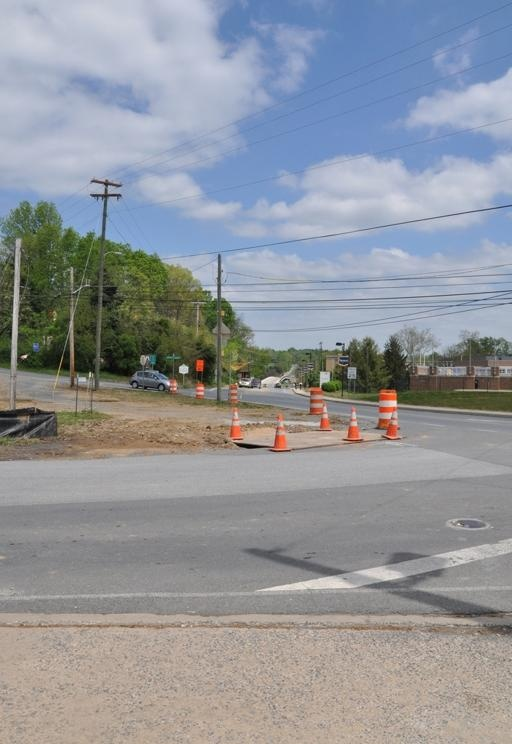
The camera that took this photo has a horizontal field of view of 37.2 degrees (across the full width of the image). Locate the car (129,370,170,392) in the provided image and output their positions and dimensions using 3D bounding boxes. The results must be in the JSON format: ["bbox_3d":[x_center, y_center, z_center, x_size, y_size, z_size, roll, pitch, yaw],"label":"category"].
[{"bbox_3d":[-6.483,0.539,46.306,2.289,0.871,1.281,-1,2,16],"label":"car"}]
